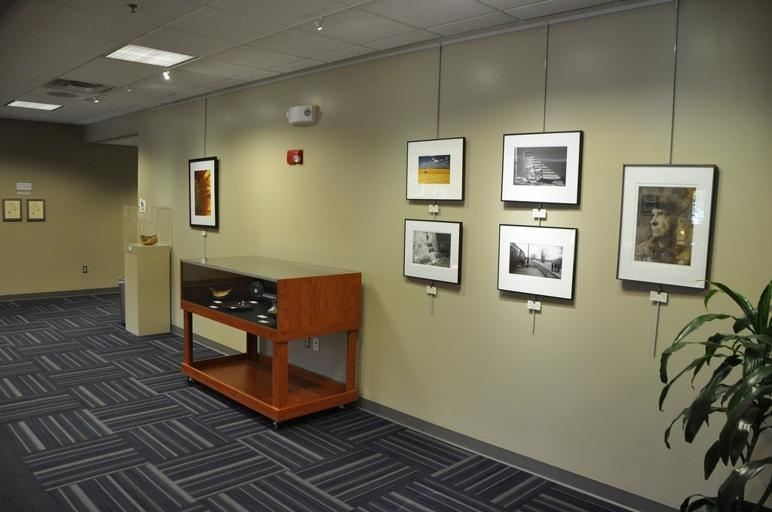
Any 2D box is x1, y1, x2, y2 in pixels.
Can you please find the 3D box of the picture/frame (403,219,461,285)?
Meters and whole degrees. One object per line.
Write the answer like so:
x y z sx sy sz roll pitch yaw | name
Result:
0.475 -0.053 4.854 0.631 0.589 0.066 5 4 39 | picture/frame

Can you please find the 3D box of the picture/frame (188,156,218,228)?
-2.711 -0.971 7.364 0.056 1.177 1.015 -3 7 -37 | picture/frame

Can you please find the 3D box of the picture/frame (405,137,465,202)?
0.499 -0.844 4.801 0.635 0.596 0.065 5 5 37 | picture/frame

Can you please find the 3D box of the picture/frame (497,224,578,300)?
1.333 0.044 4.270 0.631 0.591 0.044 6 4 33 | picture/frame

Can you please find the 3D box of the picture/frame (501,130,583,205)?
1.353 -0.754 4.208 0.619 0.537 0.062 8 6 31 | picture/frame
